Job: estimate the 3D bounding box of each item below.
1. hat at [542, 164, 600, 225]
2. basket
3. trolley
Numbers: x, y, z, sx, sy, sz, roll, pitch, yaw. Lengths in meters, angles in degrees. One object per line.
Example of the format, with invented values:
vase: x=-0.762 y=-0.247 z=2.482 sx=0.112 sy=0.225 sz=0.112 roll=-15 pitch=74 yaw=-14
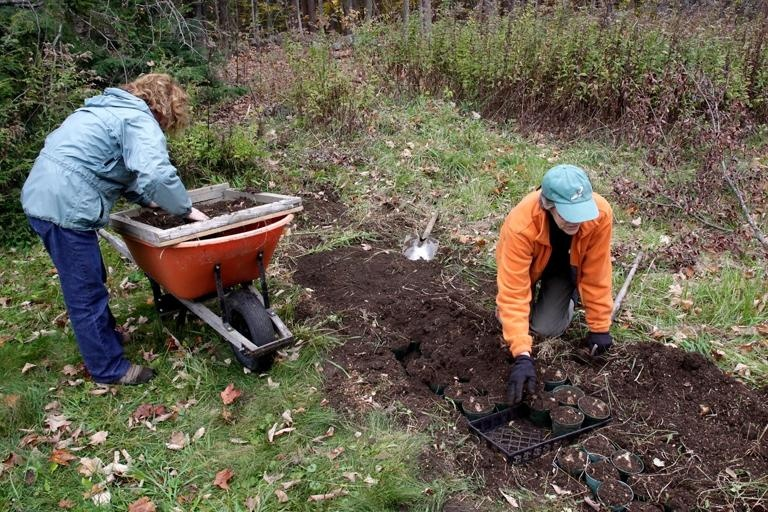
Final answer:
hat: x=1.671 y=-0.560 z=5.808 sx=0.394 sy=0.298 sz=0.604 roll=-27 pitch=56 yaw=-7
basket: x=1.314 y=1.636 z=5.902 sx=1.189 sy=0.165 sz=0.536 roll=-17 pitch=29 yaw=-26
trolley: x=-1.242 y=0.126 z=7.061 sx=2.127 sy=1.854 sz=2.671 roll=-22 pitch=32 yaw=-39
